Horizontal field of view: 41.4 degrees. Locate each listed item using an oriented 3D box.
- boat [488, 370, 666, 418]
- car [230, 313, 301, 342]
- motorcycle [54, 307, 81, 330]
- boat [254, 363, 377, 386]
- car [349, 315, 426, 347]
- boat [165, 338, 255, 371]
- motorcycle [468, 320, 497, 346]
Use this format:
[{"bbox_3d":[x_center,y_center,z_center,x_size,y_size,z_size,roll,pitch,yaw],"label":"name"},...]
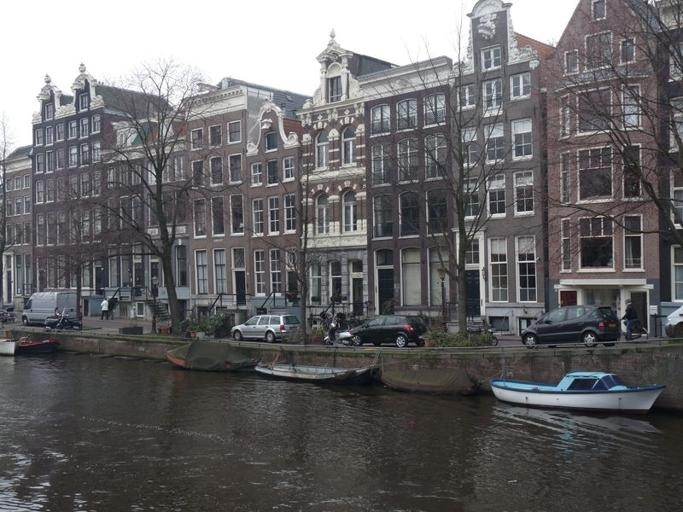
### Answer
[{"bbox_3d":[9.932,5.776,38.805,7.416,1.856,2.399,0,0,33],"label":"boat"},{"bbox_3d":[-4.478,4.233,53.309,3.854,1.572,1.398,1,10,25],"label":"car"},{"bbox_3d":[-19.280,4.503,63.490,2.437,1.444,1.126,1,-2,17],"label":"motorcycle"},{"bbox_3d":[-1.909,5.973,45.844,8.212,1.310,1.857,-4,-4,35],"label":"boat"},{"bbox_3d":[2.515,3.886,46.923,3.868,1.516,1.652,-1,-2,36],"label":"car"},{"bbox_3d":[-7.059,5.540,49.533,4.933,1.477,0.848,1,10,24],"label":"boat"},{"bbox_3d":[7.074,3.952,45.439,1.841,1.115,0.861,1,1,-2],"label":"motorcycle"}]
